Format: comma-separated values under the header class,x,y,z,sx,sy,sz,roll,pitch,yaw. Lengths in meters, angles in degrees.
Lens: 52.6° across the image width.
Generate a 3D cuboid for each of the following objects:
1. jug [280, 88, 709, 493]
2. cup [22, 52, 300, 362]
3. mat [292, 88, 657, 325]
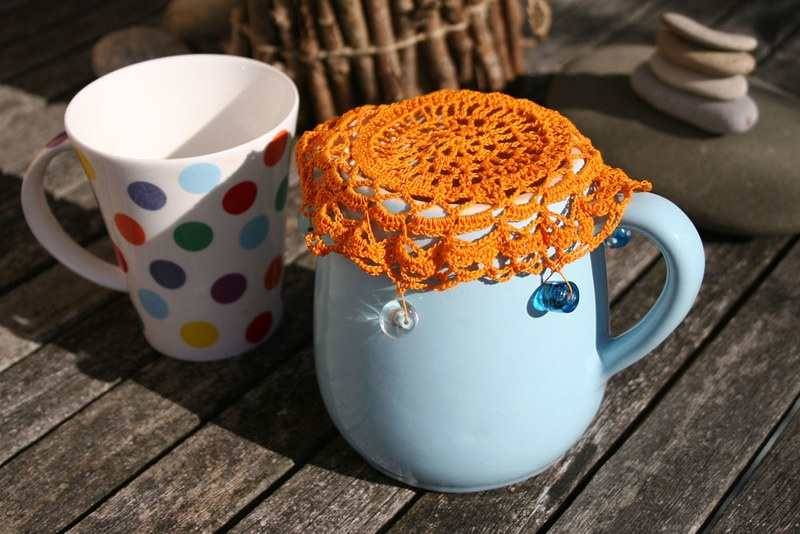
class,x,y,z,sx,sy,sz,roll,pitch,yaw
jug,0.111,0.026,0.908,0.397,0.368,0.338,5,35,19
cup,-0.230,-0.110,1.032,0.373,0.339,0.275,-5,43,-8
mat,0.053,-0.075,0.777,0.247,0.069,0.227,11,45,18
